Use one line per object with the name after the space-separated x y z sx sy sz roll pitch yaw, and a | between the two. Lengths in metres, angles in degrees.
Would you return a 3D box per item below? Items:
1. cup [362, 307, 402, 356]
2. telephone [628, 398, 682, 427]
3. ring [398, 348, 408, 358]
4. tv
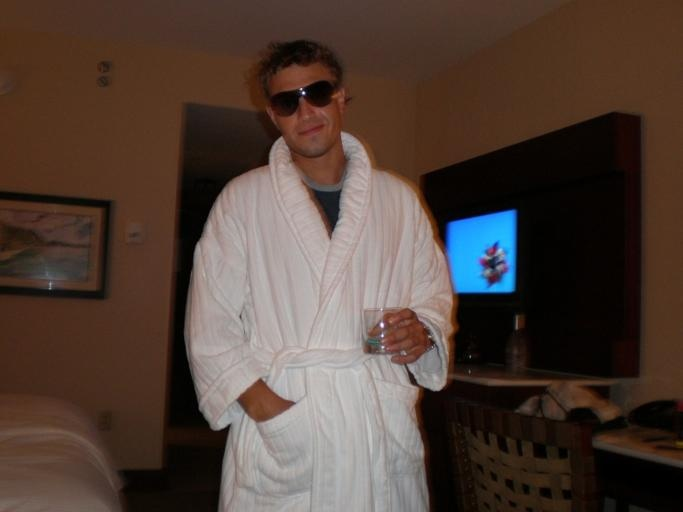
0.109 0.230 1.810 0.118 0.148 0.127 0 -6 0 | cup
1.395 0.699 2.636 0.165 0.065 0.163 -7 -6 27 | telephone
0.190 0.305 1.850 0.036 0.012 0.027 -13 21 -43 | ring
0.901 0.025 3.733 0.045 0.618 0.618 4 -7 -28 | tv
